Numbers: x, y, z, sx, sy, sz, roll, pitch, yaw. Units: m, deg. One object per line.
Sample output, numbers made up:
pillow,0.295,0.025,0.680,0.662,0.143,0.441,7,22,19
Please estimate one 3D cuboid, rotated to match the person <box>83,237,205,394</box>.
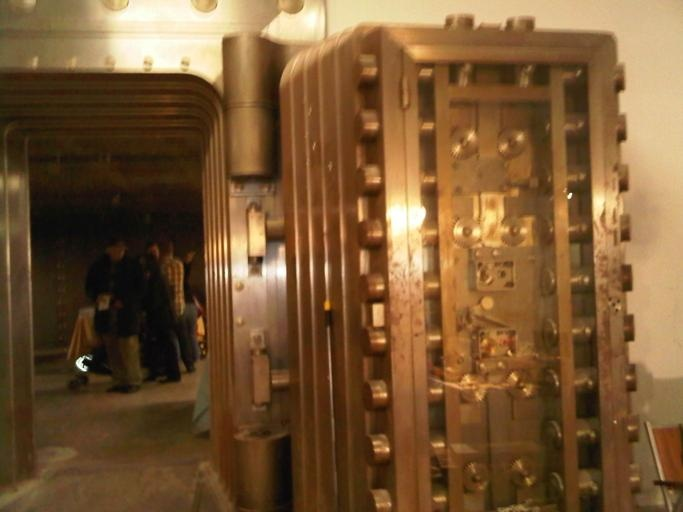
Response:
person,-1.689,0.478,6.910,0.824,1.304,0.228,-11,1,-18
